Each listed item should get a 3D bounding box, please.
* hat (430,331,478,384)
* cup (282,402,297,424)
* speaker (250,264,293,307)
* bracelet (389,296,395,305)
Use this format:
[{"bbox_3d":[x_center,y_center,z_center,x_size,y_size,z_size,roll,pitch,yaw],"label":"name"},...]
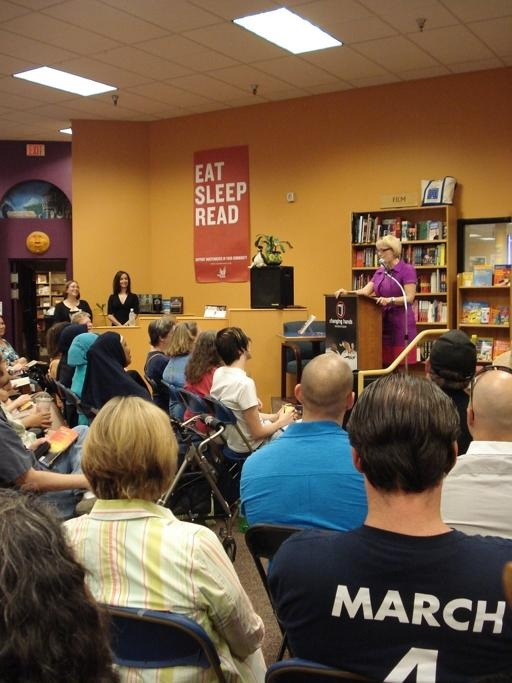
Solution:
[{"bbox_3d":[0.921,0.069,2.580,0.179,0.169,0.257,3,11,10],"label":"hat"},{"bbox_3d":[0.200,0.443,3.326,0.058,0.130,0.098,26,-12,-35],"label":"cup"},{"bbox_3d":[0.199,-0.619,6.713,0.530,0.527,0.522,-3,-4,23],"label":"speaker"},{"bbox_3d":[1.144,-0.341,4.588,0.025,0.060,0.071,1,-21,5],"label":"bracelet"}]
